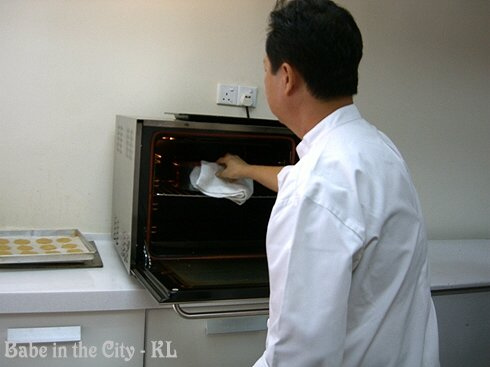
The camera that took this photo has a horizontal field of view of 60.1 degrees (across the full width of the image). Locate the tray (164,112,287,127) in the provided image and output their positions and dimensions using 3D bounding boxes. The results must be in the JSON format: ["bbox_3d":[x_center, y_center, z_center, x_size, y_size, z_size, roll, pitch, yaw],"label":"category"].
[{"bbox_3d":[-0.061,-0.258,1.721,0.465,0.056,0.122,3,27,-2],"label":"tray"}]

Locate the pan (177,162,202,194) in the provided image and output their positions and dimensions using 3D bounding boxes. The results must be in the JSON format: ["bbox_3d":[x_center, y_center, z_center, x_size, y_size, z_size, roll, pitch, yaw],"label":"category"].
[{"bbox_3d":[-0.252,-0.025,1.845,0.113,0.093,0.110,6,11,21],"label":"pan"}]
